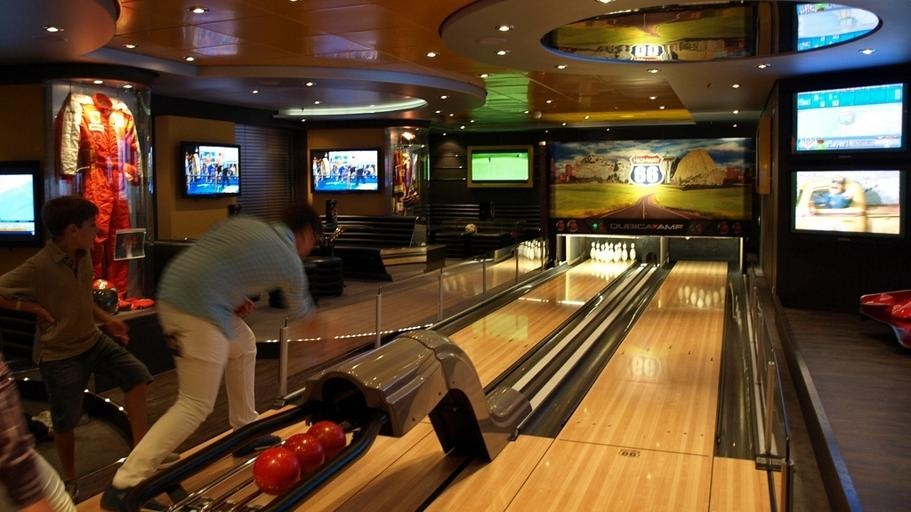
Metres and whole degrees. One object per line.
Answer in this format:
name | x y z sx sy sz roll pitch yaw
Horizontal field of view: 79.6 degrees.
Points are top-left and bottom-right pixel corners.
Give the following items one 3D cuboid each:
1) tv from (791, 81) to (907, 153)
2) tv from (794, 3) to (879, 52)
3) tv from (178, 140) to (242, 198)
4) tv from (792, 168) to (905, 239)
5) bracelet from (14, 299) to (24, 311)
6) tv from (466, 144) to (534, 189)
tv | 6.590 -2.315 9.043 1.593 0.970 0.162 1 4 33
tv | 5.036 -3.036 7.228 0.899 0.402 1.320 8 15 32
tv | -5.685 -2.010 12.518 0.168 1.041 1.602 6 8 33
tv | 6.604 -0.885 9.074 1.438 0.887 0.058 2 3 33
bracelet | -3.910 0.457 4.907 0.037 0.033 0.152 -6 -18 -34
tv | 1.698 -3.222 19.563 1.954 0.999 0.188 0 1 11
